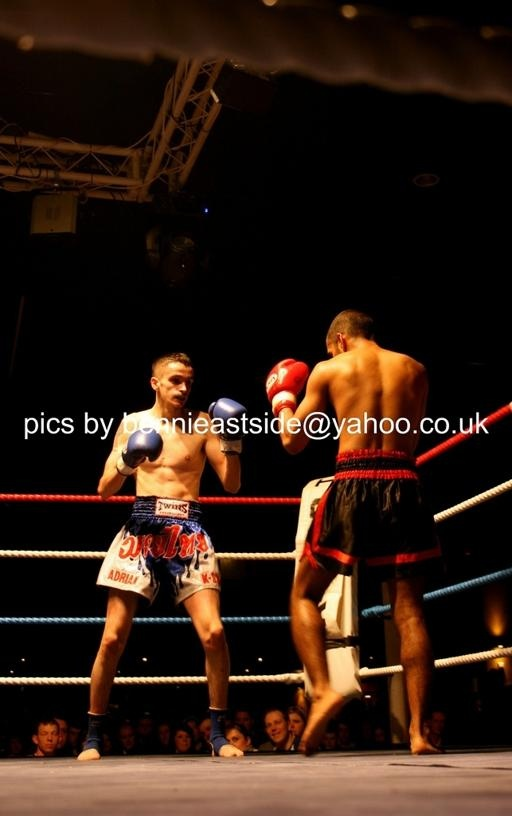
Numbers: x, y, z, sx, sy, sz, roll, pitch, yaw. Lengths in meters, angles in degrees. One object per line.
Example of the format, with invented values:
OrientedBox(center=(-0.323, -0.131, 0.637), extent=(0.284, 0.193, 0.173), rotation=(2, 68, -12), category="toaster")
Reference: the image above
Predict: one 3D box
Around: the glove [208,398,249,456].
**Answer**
OrientedBox(center=(-0.095, 0.072, 2.730), extent=(0.076, 0.201, 0.149), rotation=(-1, 3, -41), category="glove")

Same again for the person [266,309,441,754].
OrientedBox(center=(0.313, 0.283, 2.068), extent=(0.481, 1.336, 0.427), rotation=(-5, -13, 4), category="person")

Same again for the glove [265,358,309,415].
OrientedBox(center=(0.118, -0.061, 2.437), extent=(0.144, 0.189, 0.083), rotation=(-7, -36, 34), category="glove")

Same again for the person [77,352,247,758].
OrientedBox(center=(-0.339, 0.481, 2.664), extent=(0.589, 1.471, 0.366), rotation=(-3, -13, -7), category="person")

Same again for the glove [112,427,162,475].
OrientedBox(center=(-0.418, 0.150, 2.630), extent=(0.138, 0.082, 0.170), rotation=(7, -42, -21), category="glove")
